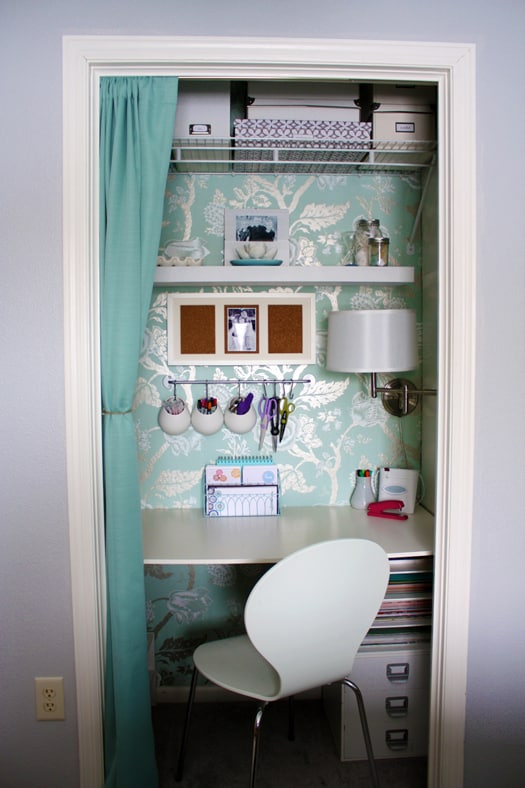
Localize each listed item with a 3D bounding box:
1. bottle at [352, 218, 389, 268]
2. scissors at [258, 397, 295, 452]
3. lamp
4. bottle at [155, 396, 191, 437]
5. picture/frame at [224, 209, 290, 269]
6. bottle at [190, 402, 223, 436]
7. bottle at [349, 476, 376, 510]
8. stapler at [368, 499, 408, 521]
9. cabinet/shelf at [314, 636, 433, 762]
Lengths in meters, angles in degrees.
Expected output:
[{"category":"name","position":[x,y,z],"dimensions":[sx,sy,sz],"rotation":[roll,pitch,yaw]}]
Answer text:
[{"category":"bottle","position":[0.356,-0.487,2.232],"dimensions":[0.113,0.158,0.166],"rotation":[0,5,8]},{"category":"scissors","position":[0.051,0.108,2.317],"dimensions":[0.122,0.191,0.061],"rotation":[-1,5,-6]},{"category":"lamp","position":[0.373,-0.083,2.181],"dimensions":[0.322,0.365,0.366],"rotation":[0,5,6]},{"category":"bottle","position":[-0.293,0.077,2.303],"dimensions":[0.106,0.111,0.115],"rotation":[8,15,29]},{"category":"picture/frame","position":[-0.022,-0.513,2.243],"dimensions":[0.218,0.215,0.017],"rotation":[-1,-10,-3]},{"category":"bottle","position":[-0.180,0.085,2.308],"dimensions":[0.093,0.094,0.096],"rotation":[-1,14,-7]},{"category":"bottle","position":[0.341,0.341,2.371],"dimensions":[0.096,0.111,0.100],"rotation":[2,8,4]},{"category":"stapler","position":[0.410,0.384,2.227],"dimensions":[0.158,0.069,0.049],"rotation":[0,5,19]},{"category":"cabinet/shelf","position":[0.384,0.897,2.122],"dimensions":[0.270,0.382,0.294],"rotation":[-1,10,-6]}]
